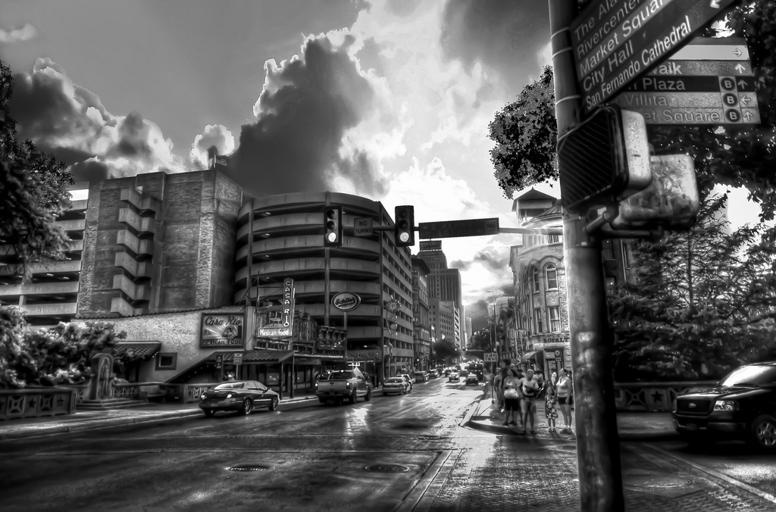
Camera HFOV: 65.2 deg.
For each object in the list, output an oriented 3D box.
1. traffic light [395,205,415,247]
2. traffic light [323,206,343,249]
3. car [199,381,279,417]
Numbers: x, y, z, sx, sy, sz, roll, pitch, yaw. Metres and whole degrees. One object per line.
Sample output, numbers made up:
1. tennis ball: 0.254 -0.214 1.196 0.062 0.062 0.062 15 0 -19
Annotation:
1. traffic light: 0.474 -0.883 17.908 0.527 1.247 0.519 -1 -15 0
2. traffic light: -1.624 -0.884 17.666 0.464 1.279 0.479 1 -15 -10
3. car: -7.022 6.746 29.284 1.631 1.186 3.746 -2 -9 19
